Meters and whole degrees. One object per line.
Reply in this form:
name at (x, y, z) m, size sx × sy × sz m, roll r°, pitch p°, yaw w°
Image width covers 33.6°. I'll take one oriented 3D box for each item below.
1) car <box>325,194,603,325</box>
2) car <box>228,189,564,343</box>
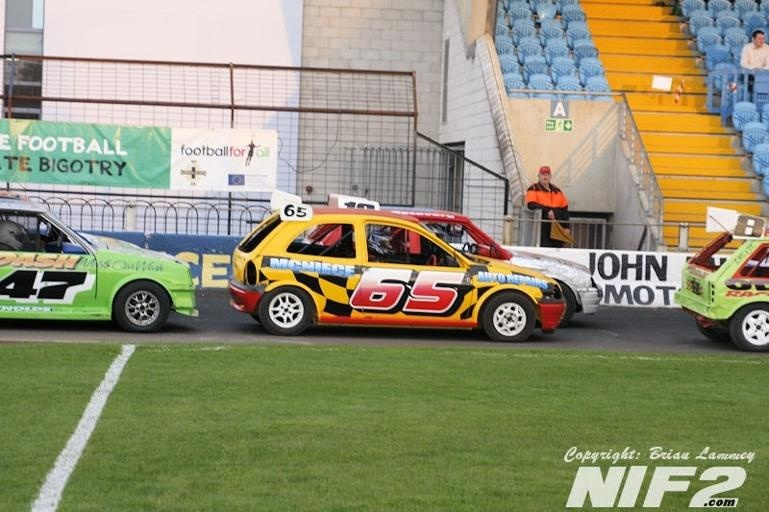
car at (1.616, 0.127, 26.491) m, size 5.311 × 2.066 × 2.499 m, roll 2°, pitch 7°, yaw -6°
car at (0.075, 0.074, 25.167) m, size 5.925 × 2.519 × 2.866 m, roll 1°, pitch 5°, yaw -7°
